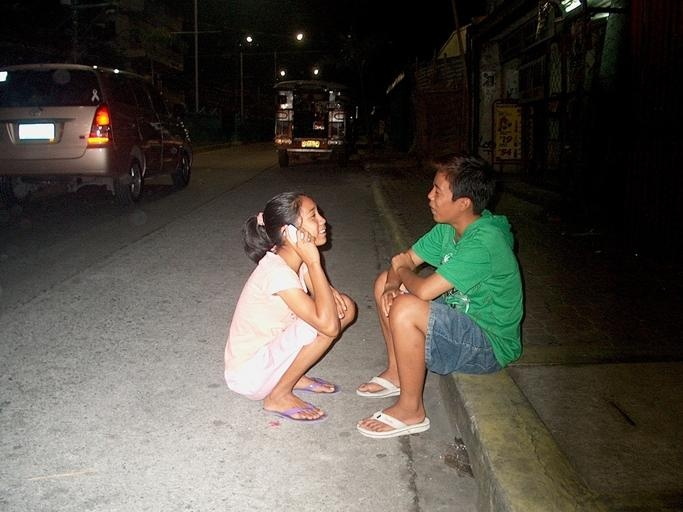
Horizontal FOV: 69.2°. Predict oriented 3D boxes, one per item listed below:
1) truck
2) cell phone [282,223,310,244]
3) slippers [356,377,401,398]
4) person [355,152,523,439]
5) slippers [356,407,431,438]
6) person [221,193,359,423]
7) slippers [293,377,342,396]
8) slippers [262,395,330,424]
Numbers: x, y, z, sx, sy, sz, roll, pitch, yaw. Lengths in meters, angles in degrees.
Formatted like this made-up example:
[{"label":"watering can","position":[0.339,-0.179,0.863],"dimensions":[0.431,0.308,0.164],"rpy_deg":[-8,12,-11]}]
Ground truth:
[{"label":"truck","position":[-1.019,-5.273,19.301],"dimensions":[2.249,2.420,3.865],"rpy_deg":[3,24,0]},{"label":"cell phone","position":[-0.257,-0.132,2.885],"dimensions":[0.156,0.098,0.039],"rpy_deg":[27,7,8]},{"label":"slippers","position":[0.260,0.842,3.218],"dimensions":[0.224,0.079,0.124],"rpy_deg":[1,4,-9]},{"label":"person","position":[0.616,0.197,3.004],"dimensions":[0.937,1.578,1.102],"rpy_deg":[7,16,23]},{"label":"slippers","position":[0.303,0.933,2.833],"dimensions":[0.296,0.100,0.172],"rpy_deg":[1,0,-6]},{"label":"person","position":[-0.303,0.063,3.603],"dimensions":[1.067,1.950,1.111],"rpy_deg":[-1,19,-8]},{"label":"slippers","position":[-0.156,0.856,3.299],"dimensions":[0.263,0.072,0.123],"rpy_deg":[1,17,8]},{"label":"slippers","position":[-0.257,0.905,2.983],"dimensions":[0.257,0.049,0.143],"rpy_deg":[2,9,31]}]
